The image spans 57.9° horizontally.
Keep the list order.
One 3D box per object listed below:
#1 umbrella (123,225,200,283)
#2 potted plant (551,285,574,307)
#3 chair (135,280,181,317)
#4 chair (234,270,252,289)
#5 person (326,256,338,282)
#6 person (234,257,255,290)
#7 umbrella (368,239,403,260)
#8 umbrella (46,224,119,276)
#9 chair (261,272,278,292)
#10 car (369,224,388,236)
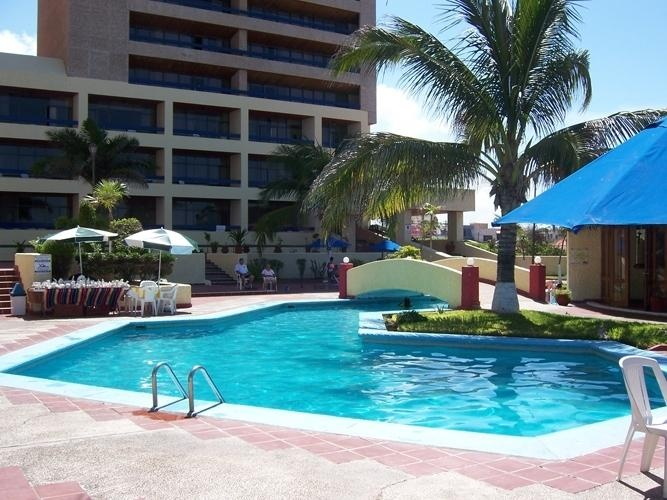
[{"bbox_3d":[-5.771,0.251,20.129,2.189,2.184,2.214,17,10,42],"label":"umbrella"},{"bbox_3d":[7.867,1.594,20.884,0.496,0.543,0.541,-1,-2,13],"label":"potted plant"},{"bbox_3d":[-5.618,1.469,19.009,0.856,0.713,1.461,2,1,41],"label":"chair"},{"bbox_3d":[-4.288,1.416,29.338,0.768,1.134,0.869,3,-9,-27],"label":"chair"},{"bbox_3d":[-0.044,0.994,30.787,0.469,1.044,1.357,2,1,1],"label":"person"},{"bbox_3d":[-4.369,1.109,29.221,0.775,1.524,0.797,-5,-3,-36],"label":"person"},{"bbox_3d":[3.248,-0.212,35.165,1.400,1.100,1.386,1,0,-39],"label":"umbrella"},{"bbox_3d":[-8.737,-0.027,20.501,1.963,1.578,3.255,1,1,-35],"label":"umbrella"},{"bbox_3d":[-2.915,1.461,27.695,0.702,0.815,0.698,2,-5,-24],"label":"chair"},{"bbox_3d":[3.297,-1.605,45.558,1.156,0.787,3.353,2,1,1],"label":"car"}]
